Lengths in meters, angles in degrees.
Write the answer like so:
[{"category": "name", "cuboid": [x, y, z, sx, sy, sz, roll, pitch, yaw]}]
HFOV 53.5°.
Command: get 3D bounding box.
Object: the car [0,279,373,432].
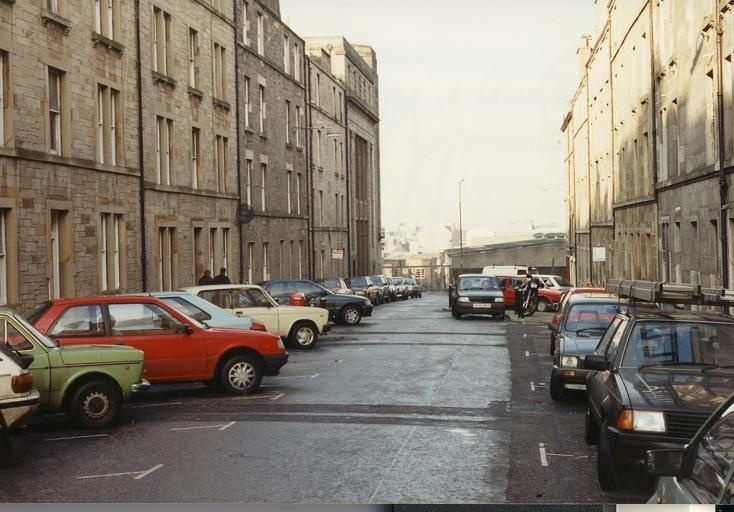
[{"category": "car", "cuboid": [-3.866, 2.023, 13.653, 4.718, 1.704, 2.292, -2, 1, -19]}]
